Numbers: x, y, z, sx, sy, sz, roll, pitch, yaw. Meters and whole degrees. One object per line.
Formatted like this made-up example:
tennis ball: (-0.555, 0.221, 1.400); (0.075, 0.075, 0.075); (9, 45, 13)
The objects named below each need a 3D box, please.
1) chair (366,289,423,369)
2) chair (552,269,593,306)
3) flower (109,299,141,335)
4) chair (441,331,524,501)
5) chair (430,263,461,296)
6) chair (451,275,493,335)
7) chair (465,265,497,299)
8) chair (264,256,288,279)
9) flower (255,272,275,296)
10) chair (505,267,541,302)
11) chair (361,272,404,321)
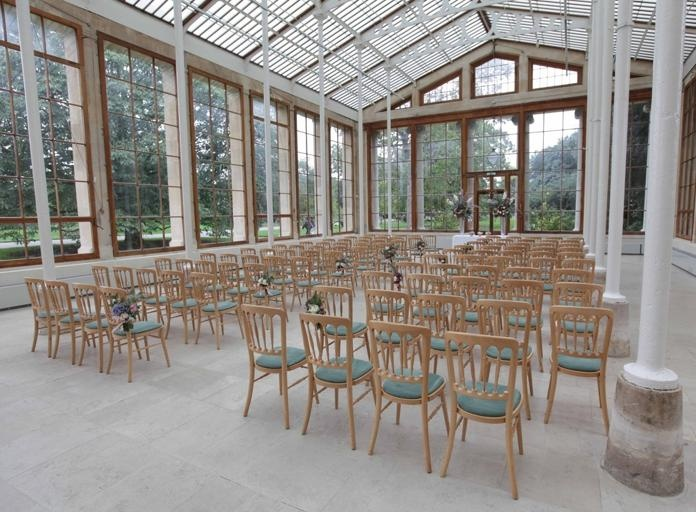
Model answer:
chair: (0.481, 0.663, 5.815); (0.590, 1.066, 0.702); (4, 12, 21)
chair: (2.966, 0.419, 6.162); (0.333, 0.592, 0.366); (8, 27, 33)
flower: (-2.926, 0.717, 6.121); (0.391, 0.552, 0.508); (1, 1, -42)
chair: (1.313, 1.375, 4.481); (0.914, 1.523, 1.003); (-3, 12, 1)
chair: (1.383, 0.339, 6.605); (0.329, 0.533, 0.365); (6, 24, 26)
chair: (1.732, 0.761, 6.412); (0.519, 0.834, 0.480); (-8, 23, -26)
chair: (1.910, 0.382, 6.707); (0.369, 0.668, 0.409); (5, 18, 27)
chair: (-1.395, 0.218, 8.897); (0.343, 0.540, 0.390); (4, 13, 17)
flower: (-1.376, 0.448, 7.640); (0.379, 0.432, 0.416); (-1, -4, 31)
chair: (2.450, 0.406, 6.521); (0.361, 0.650, 0.400); (4, 20, 31)
chair: (0.556, 0.695, 6.804); (0.523, 0.867, 0.455); (-9, 9, -13)
